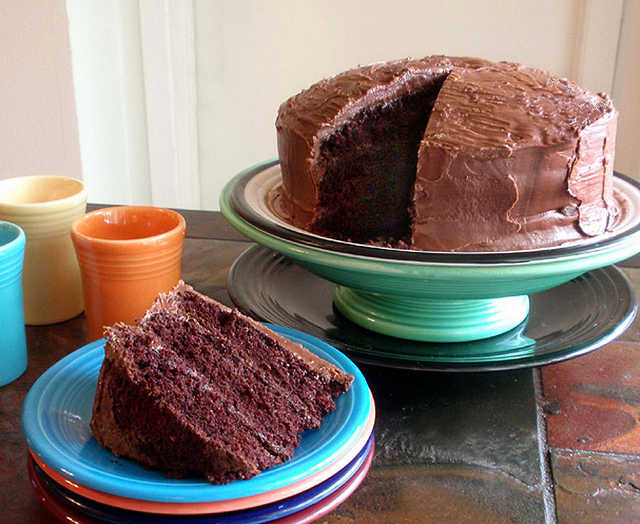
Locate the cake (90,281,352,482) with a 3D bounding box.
[{"bbox_3d":[-0.149,0.160,0.886,0.301,0.126,0.334,10,16,10],"label":"cake"}]

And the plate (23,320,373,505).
[{"bbox_3d":[-0.176,0.213,0.916,0.479,0.075,0.462,-3,26,-28],"label":"plate"}]
